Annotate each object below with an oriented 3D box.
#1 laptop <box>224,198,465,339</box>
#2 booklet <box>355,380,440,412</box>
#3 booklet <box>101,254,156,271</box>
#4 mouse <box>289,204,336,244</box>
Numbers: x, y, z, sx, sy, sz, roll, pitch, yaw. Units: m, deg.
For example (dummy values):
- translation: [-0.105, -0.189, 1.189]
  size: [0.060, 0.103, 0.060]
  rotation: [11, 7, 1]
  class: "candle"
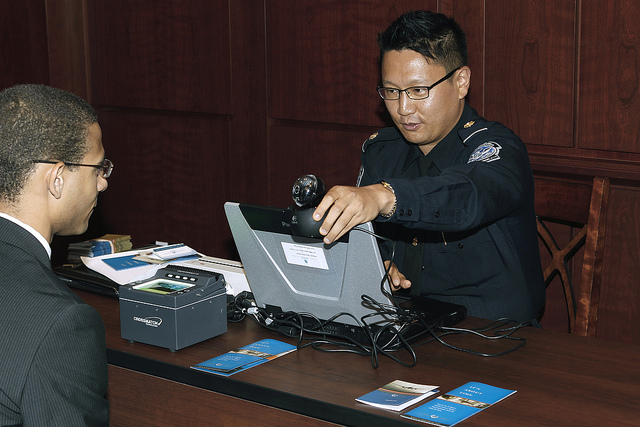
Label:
- translation: [0.082, 0.156, 1.792]
  size: [0.655, 0.425, 0.584]
  rotation: [5, 14, 41]
  class: "laptop"
- translation: [0.217, 0.468, 1.376]
  size: [0.219, 0.025, 0.192]
  rotation: [3, 10, 27]
  class: "booklet"
- translation: [-0.813, 0.208, 2.104]
  size: [0.155, 0.020, 0.154]
  rotation: [-13, 19, -43]
  class: "booklet"
- translation: [-0.009, 0.013, 1.612]
  size: [0.147, 0.090, 0.200]
  rotation: [0, 8, 26]
  class: "mouse"
